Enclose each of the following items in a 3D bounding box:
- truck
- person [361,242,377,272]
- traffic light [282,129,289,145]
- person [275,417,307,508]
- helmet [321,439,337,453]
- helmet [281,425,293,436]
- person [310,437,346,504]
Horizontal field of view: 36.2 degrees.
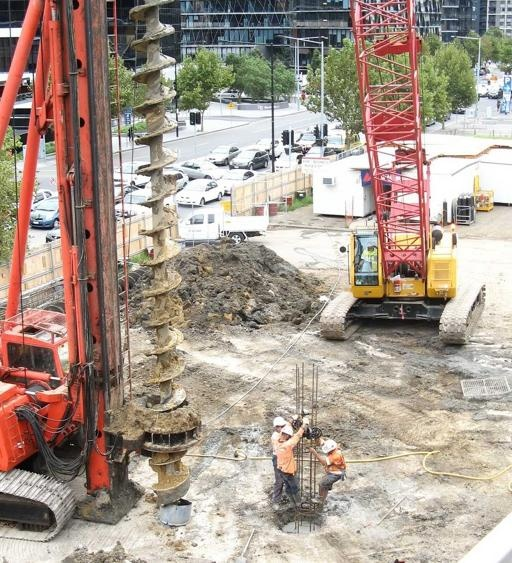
[{"bbox_3d":[-1.281,-1.922,28.592,3.511,0.948,1.244,1,4,1],"label":"truck"},{"bbox_3d":[2.718,-0.569,19.005,0.373,0.686,0.298,-1,16,7],"label":"person"},{"bbox_3d":[1.582,-7.830,42.709,0.314,0.694,0.366,-1,16,7],"label":"traffic light"},{"bbox_3d":[0.462,2.573,11.050,0.447,1.157,0.520,0,16,10],"label":"person"},{"bbox_3d":[1.017,2.333,11.062,0.204,0.211,0.311,-2,14,2],"label":"helmet"},{"bbox_3d":[0.416,2.098,10.970,0.155,0.191,0.194,-2,15,1],"label":"helmet"},{"bbox_3d":[1.053,2.629,11.575,0.514,1.026,1.499,-1,14,6],"label":"person"}]
